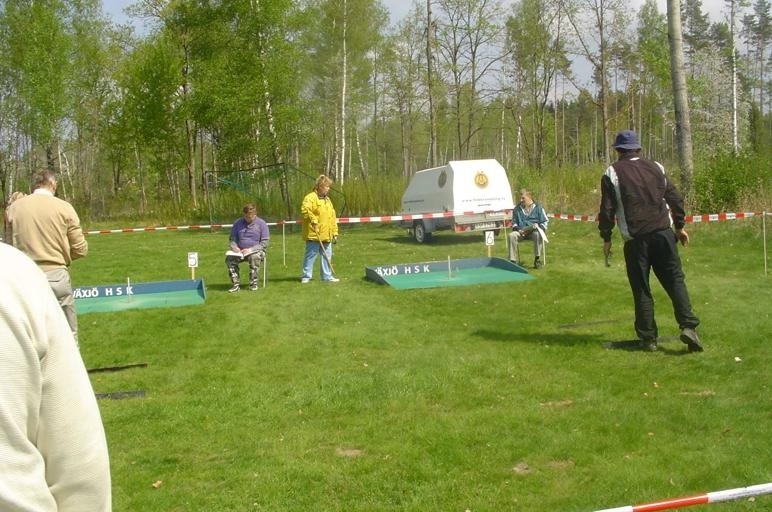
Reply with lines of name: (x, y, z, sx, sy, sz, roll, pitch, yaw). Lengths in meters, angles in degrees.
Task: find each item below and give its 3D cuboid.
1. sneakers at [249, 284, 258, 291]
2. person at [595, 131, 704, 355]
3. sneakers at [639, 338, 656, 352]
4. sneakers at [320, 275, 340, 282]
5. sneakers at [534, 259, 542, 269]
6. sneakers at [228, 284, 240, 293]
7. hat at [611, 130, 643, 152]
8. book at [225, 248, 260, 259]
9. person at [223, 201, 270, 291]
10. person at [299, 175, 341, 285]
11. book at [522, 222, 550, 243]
sneakers: (-2.934, 0.676, 17.591, 0.190, 0.096, 0.222, -4, 3, -13)
person: (4.324, -0.281, 13.175, 1.488, 3.622, 0.937, -3, 2, 17)
sneakers: (4.295, 1.450, 13.087, 0.108, 0.139, 0.296, -1, -7, -5)
sneakers: (-1.304, 0.505, 18.358, 0.442, 0.189, 0.156, -1, 2, 10)
sneakers: (3.705, 0.178, 19.507, 0.164, 0.224, 0.284, -3, 3, 10)
sneakers: (-3.339, 0.714, 17.464, 0.108, 0.140, 0.307, -1, -5, 20)
hat: (4.024, -1.910, 13.310, 0.392, 0.214, 0.367, -2, 6, 0)
book: (-3.177, -0.052, 17.758, 0.745, 0.183, 0.224, -4, 3, -10)
person: (-3.145, -0.219, 17.969, 0.925, 1.440, 1.410, -4, 3, -6)
person: (-1.605, -0.653, 18.717, 0.882, 1.676, 1.383, -4, 3, -6)
book: (3.772, -0.498, 19.746, 0.453, 0.502, 0.135, -9, -37, -46)
